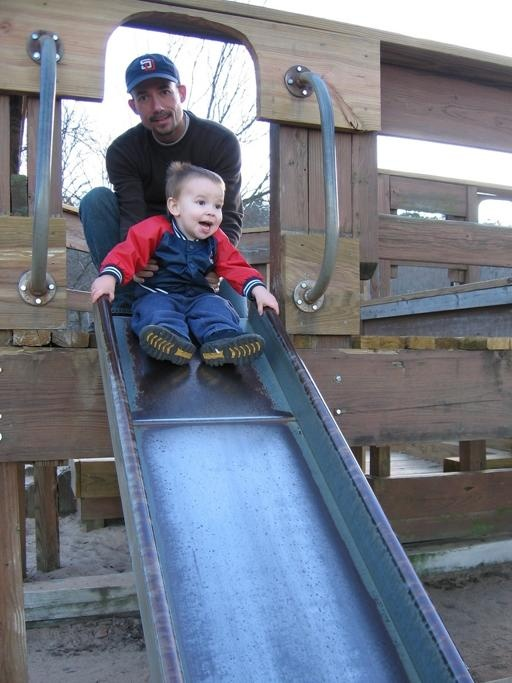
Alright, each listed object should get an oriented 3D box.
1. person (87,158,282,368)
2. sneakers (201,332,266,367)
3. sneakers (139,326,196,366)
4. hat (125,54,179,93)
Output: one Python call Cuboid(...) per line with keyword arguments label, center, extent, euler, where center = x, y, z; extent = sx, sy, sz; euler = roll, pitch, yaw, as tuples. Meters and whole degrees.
Cuboid(label="person", center=(-0.222, -0.268, 2.310), extent=(0.577, 0.691, 0.546), euler=(7, -2, -20))
Cuboid(label="sneakers", center=(-0.067, 0.027, 2.068), extent=(0.207, 0.076, 0.104), euler=(-13, 10, 26))
Cuboid(label="sneakers", center=(-0.258, 0.015, 2.048), extent=(0.165, 0.081, 0.080), euler=(33, -7, -28))
Cuboid(label="hat", center=(-0.390, -0.993, 2.549), extent=(0.131, 0.094, 0.171), euler=(-15, 5, -2))
